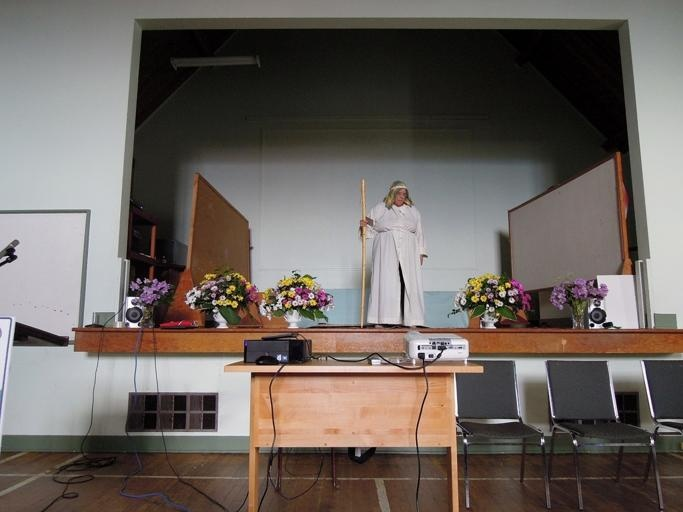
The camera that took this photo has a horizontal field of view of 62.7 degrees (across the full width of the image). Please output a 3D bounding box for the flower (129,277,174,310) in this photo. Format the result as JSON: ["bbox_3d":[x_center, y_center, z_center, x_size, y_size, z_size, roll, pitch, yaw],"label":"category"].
[{"bbox_3d":[-1.736,0.325,5.174,0.303,0.229,0.297,7,-5,-7],"label":"flower"}]

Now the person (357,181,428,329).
[{"bbox_3d":[0.542,-0.030,5.812,0.684,1.538,0.379,-1,-10,-2],"label":"person"}]

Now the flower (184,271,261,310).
[{"bbox_3d":[-1.095,0.346,5.223,0.404,0.280,0.427,0,-2,-3],"label":"flower"}]

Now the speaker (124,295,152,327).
[{"bbox_3d":[-1.850,0.504,5.074,0.229,0.342,0.252,-1,-9,-6],"label":"speaker"}]

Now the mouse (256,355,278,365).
[{"bbox_3d":[-0.503,0.699,3.791,0.101,0.040,0.068,2,-4,-3],"label":"mouse"}]

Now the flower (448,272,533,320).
[{"bbox_3d":[1.413,0.384,5.361,0.486,0.350,0.516,-1,-2,7],"label":"flower"}]

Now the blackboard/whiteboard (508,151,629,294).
[{"bbox_3d":[2.555,-0.327,6.400,0.467,1.005,1.805,-4,-10,-6],"label":"blackboard/whiteboard"}]

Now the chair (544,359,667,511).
[{"bbox_3d":[2.029,1.411,4.605,0.873,1.106,1.011,1,-10,-13],"label":"chair"}]

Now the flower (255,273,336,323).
[{"bbox_3d":[-0.359,0.389,5.215,0.481,0.357,0.501,1,-3,21],"label":"flower"}]

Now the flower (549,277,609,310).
[{"bbox_3d":[2.176,0.340,5.150,0.361,0.275,0.310,-3,-9,-21],"label":"flower"}]

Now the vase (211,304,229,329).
[{"bbox_3d":[-1.106,0.559,5.095,0.152,0.181,0.123,-3,-10,5],"label":"vase"}]

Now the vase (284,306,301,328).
[{"bbox_3d":[-0.456,0.566,5.197,0.184,0.166,0.194,0,-3,-13],"label":"vase"}]

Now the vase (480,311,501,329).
[{"bbox_3d":[1.399,0.611,5.249,0.162,0.145,0.168,0,-9,1],"label":"vase"}]
